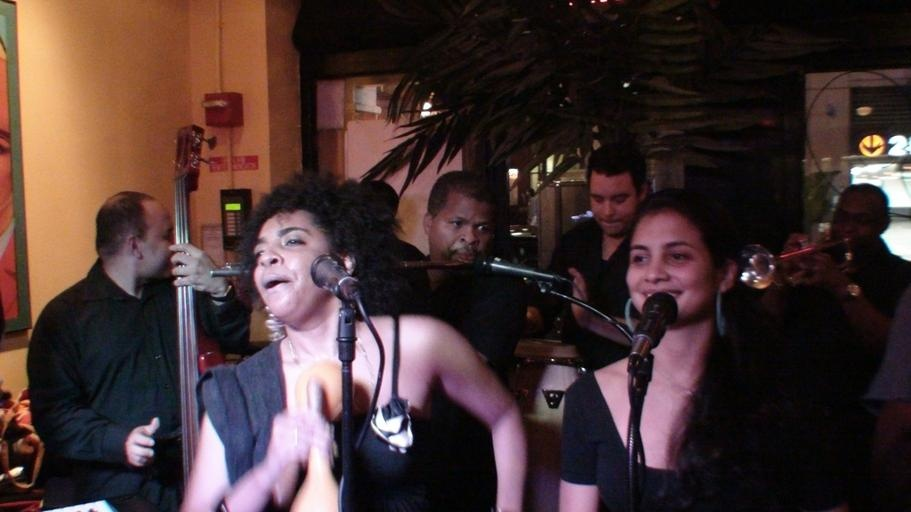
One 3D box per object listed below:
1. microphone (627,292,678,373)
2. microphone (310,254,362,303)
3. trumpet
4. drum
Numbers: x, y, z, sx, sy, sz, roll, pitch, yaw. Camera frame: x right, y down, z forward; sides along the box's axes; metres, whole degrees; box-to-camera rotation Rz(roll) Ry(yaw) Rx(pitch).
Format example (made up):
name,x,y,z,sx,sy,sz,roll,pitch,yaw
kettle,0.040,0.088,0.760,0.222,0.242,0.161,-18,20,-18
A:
name,x,y,z,sx,sy,sz,roll,pitch,yaw
microphone,0.696,0.268,2.560,0.086,0.266,0.191,3,4,43
microphone,-0.451,0.080,2.660,0.220,0.122,0.111,13,-28,51
trumpet,1.293,0.035,2.935,0.552,0.248,0.203,3,3,-27
drum,0.380,0.529,2.988,0.421,0.345,0.286,-2,-6,15
